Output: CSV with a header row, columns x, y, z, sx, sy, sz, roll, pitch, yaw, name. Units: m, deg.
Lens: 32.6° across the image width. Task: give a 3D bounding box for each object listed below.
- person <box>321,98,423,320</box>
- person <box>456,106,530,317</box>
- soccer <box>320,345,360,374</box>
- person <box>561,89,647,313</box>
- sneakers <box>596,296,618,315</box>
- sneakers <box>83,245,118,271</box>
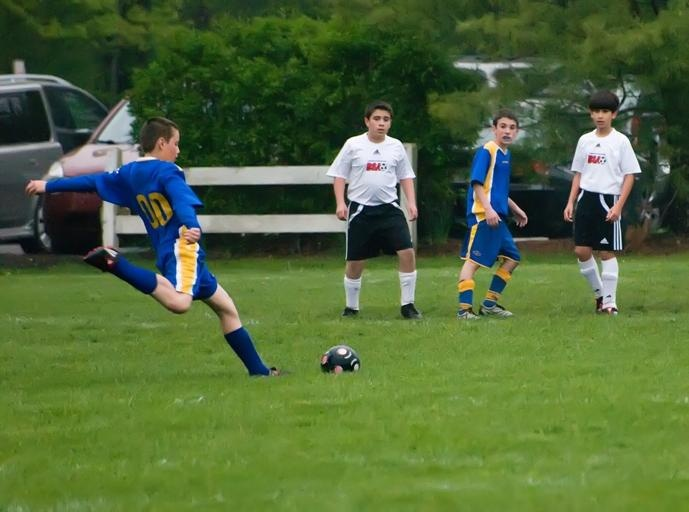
x,y,z,sx,sy,sz,roll,pitch,yaw,name
0.310,-0.455,12.177,1.081,2.231,0.891,5,15,17,person
1.508,-0.399,11.996,0.628,2.142,1.032,3,15,8,person
-0.048,0.887,10.172,0.257,0.179,0.247,-2,1,6,soccer
2.635,-0.561,12.096,0.597,2.216,0.915,-7,17,-28,person
2.653,0.507,11.973,0.213,0.157,0.387,3,14,9,sneakers
-1.986,0.017,9.571,0.248,0.176,0.113,-3,-7,-20,sneakers
